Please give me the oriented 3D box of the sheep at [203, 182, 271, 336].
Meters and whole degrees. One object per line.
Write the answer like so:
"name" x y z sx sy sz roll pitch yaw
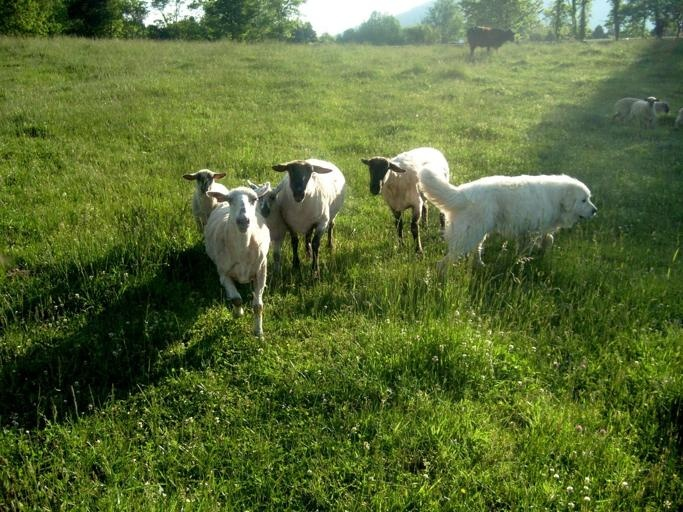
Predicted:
"sheep" -2.430 0.014 18.208 1.225 3.303 2.313 -5 14 -35

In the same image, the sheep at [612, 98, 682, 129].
"sheep" 12.690 -6.205 32.430 2.157 1.171 1.929 9 14 19

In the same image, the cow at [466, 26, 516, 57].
"cow" 8.636 -12.902 45.711 3.428 1.879 1.647 -4 15 -35

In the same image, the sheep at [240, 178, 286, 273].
"sheep" -1.960 -0.622 20.806 0.770 2.340 3.277 -5 1 -1

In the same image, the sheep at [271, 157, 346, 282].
"sheep" -0.895 -1.181 20.510 1.333 2.820 2.403 8 13 23

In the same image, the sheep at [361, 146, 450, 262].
"sheep" 2.027 -1.638 22.332 1.079 3.001 3.799 6 15 34
